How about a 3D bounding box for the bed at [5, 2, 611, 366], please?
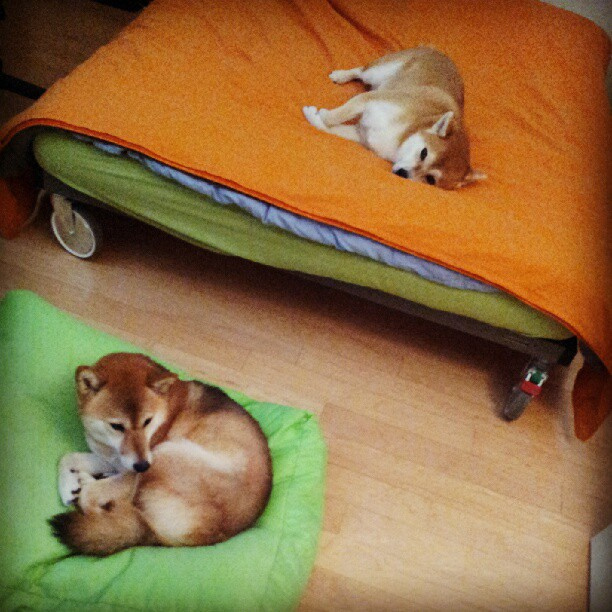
[{"bbox_3d":[0.154,-0.573,2.265,1.455,0.347,1.075,18,67,5],"label":"bed"}]
